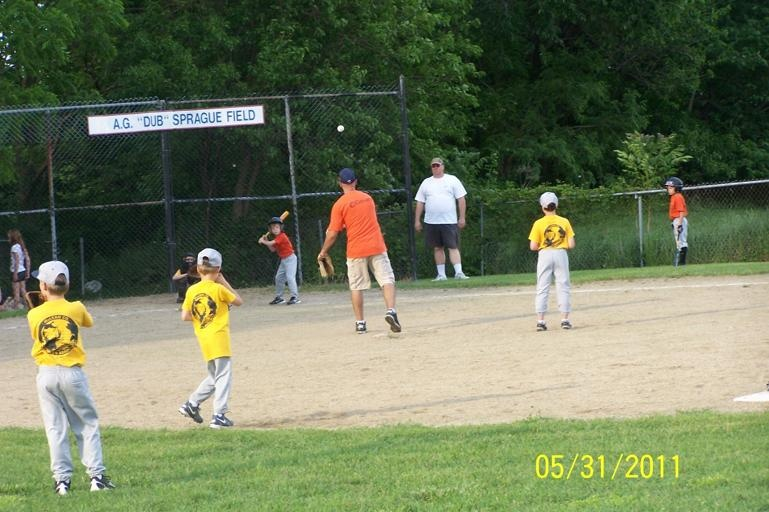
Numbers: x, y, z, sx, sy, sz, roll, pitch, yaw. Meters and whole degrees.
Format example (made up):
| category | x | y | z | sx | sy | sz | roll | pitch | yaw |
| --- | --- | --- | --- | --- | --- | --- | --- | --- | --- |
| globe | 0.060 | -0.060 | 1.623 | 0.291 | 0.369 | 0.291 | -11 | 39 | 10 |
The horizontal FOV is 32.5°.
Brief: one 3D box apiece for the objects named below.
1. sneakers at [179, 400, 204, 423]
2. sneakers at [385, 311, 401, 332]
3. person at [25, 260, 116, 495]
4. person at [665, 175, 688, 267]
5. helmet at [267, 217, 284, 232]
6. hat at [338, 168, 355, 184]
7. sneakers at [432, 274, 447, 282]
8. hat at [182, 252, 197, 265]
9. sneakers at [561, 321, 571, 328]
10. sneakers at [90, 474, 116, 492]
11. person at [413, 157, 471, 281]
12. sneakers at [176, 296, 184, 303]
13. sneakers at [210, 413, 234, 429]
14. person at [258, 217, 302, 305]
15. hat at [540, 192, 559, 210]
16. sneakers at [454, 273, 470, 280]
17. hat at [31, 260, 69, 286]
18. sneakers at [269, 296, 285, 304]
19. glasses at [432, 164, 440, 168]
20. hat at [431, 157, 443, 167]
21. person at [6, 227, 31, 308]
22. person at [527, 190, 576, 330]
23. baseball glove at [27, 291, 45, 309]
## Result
| category | x | y | z | sx | sy | sz | roll | pitch | yaw |
| --- | --- | --- | --- | --- | --- | --- | --- | --- | --- |
| sneakers | -3.273 | 2.681 | 22.432 | 0.306 | 0.204 | 0.591 | -28 | -44 | 18 |
| sneakers | 0.145 | 1.274 | 25.399 | 0.198 | 0.223 | 0.537 | -10 | -44 | 36 |
| person | -5.000 | 1.898 | 20.830 | 1.025 | 2.717 | 0.829 | -4 | 2 | -12 |
| person | 6.961 | -0.822 | 31.195 | 0.386 | 2.047 | 0.797 | -3 | 2 | 10 |
| helmet | -2.382 | -0.676 | 29.303 | 0.384 | 0.417 | 0.451 | -2 | -12 | -4 |
| hat | -0.709 | -1.584 | 25.705 | 0.274 | 0.147 | 0.365 | -4 | 31 | -5 |
| sneakers | 1.267 | 0.502 | 30.967 | 0.398 | 0.162 | 0.134 | 0 | 2 | 26 |
| hat | -4.373 | 0.077 | 29.805 | 0.414 | 0.283 | 0.507 | 0 | 0 | -7 |
| sneakers | 3.505 | 1.306 | 25.137 | 0.204 | 0.170 | 0.163 | -4 | 2 | -11 |
| sneakers | -4.416 | 3.575 | 20.673 | 0.473 | 0.183 | 0.180 | 0 | -1 | -12 |
| person | 1.348 | -0.852 | 30.701 | 1.256 | 2.833 | 0.781 | -3 | 3 | 16 |
| sneakers | -4.644 | 1.024 | 30.262 | 0.184 | 0.175 | 0.404 | 0 | -5 | -9 |
| sneakers | -2.736 | 2.810 | 22.280 | 0.478 | 0.196 | 0.167 | 0 | 2 | -14 |
| person | -2.289 | 0.099 | 29.546 | 0.719 | 1.932 | 1.574 | -4 | 2 | -5 |
| hat | 3.183 | -1.068 | 25.394 | 0.378 | 0.247 | 0.507 | 0 | 12 | 5 |
| sneakers | 1.795 | 0.482 | 30.931 | 0.384 | 0.150 | 0.134 | -5 | -3 | 32 |
| hat | -5.340 | 0.272 | 21.040 | 0.482 | 0.259 | 0.360 | 13 | 19 | 38 |
| sneakers | -2.346 | 0.984 | 29.440 | 0.397 | 0.166 | 0.138 | 1 | 6 | -2 |
| glasses | 1.222 | -2.100 | 30.564 | 0.155 | 0.074 | 0.077 | -3 | 3 | 16 |
| hat | 1.262 | -2.241 | 30.740 | 0.302 | 0.197 | 0.403 | -2 | -9 | 15 |
| person | -8.613 | 0.289 | 31.327 | 0.440 | 1.406 | 2.293 | -5 | 3 | -15 |
| person | 3.267 | 0.087 | 25.470 | 0.801 | 2.623 | 0.988 | -4 | 2 | 5 |
| baseball glove | -5.580 | 0.679 | 21.109 | 0.287 | 0.305 | 0.269 | -2 | -41 | -20 |
